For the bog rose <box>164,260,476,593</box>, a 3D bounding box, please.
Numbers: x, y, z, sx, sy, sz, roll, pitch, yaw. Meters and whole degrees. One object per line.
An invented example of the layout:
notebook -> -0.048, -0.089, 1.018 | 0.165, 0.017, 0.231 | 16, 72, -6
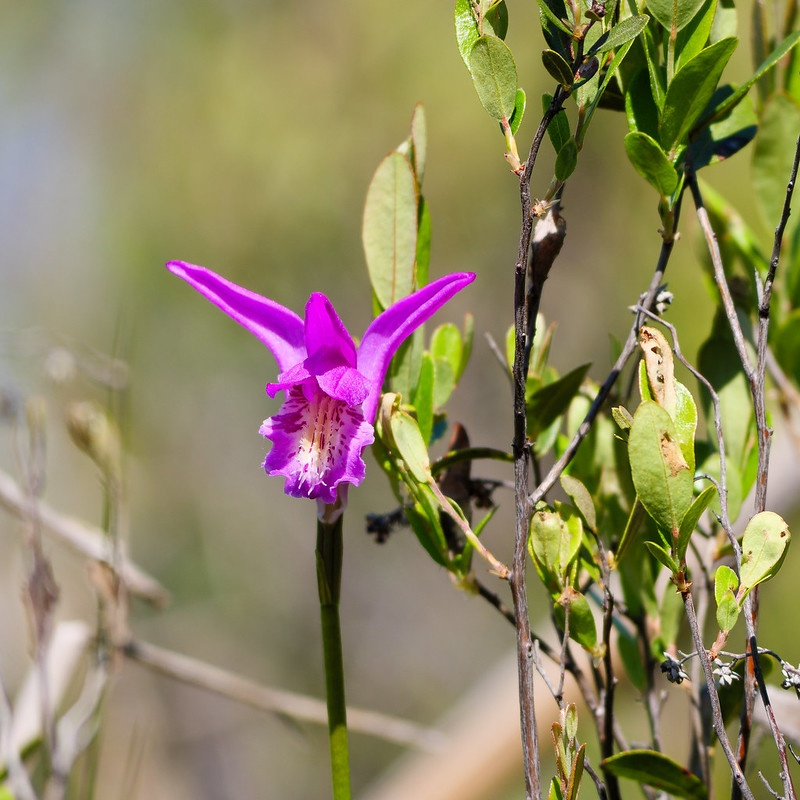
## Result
bog rose -> -0.138, 0.054, 1.585 | 0.377, 0.553, 0.185 | 0, -9, 7
